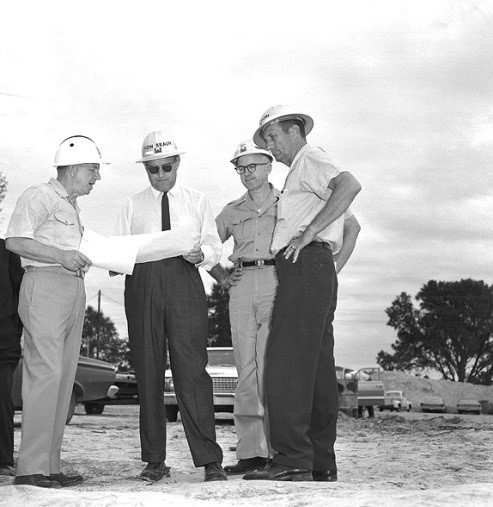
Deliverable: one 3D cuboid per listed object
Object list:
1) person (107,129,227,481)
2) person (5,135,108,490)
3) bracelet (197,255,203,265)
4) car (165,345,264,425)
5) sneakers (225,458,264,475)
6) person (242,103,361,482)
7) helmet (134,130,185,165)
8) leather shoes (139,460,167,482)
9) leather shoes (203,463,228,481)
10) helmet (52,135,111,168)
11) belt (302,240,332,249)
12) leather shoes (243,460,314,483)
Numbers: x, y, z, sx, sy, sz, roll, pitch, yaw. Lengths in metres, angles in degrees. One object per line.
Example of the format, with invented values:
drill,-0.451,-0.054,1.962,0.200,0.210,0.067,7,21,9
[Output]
person,-0.609,0.396,7.457,0.902,2.811,0.492,3,-8,-7
person,-1.500,0.394,7.106,0.544,2.758,0.770,-5,-11,41
bracelet,-0.367,0.052,7.436,0.063,0.072,0.071,-1,-38,7
car,-0.731,2.003,14.968,1.204,0.993,1.947,1,-24,-3
sneakers,-0.012,1.851,7.948,0.372,0.139,0.120,4,-11,-19
person,0.440,0.273,7.188,0.801,2.983,0.714,2,-8,0
helmet,-0.716,-0.918,7.611,0.438,0.204,0.439,-3,16,22
leather shoes,-0.733,1.715,7.222,0.212,0.128,0.409,1,-8,1
leather shoes,-0.254,1.717,7.200,0.149,0.150,0.379,-1,-19,-1
helmet,-1.328,-0.799,7.250,0.393,0.186,0.295,-2,6,-12
belt,0.562,-0.078,7.106,0.241,0.056,0.043,7,-10,-35
leather shoes,0.254,1.696,7.055,0.557,0.217,0.172,3,-20,3
